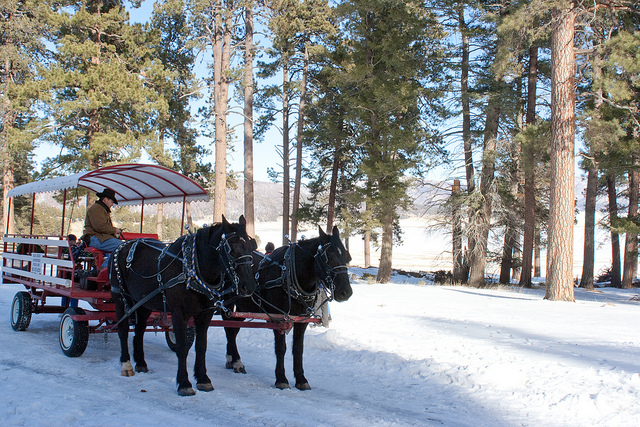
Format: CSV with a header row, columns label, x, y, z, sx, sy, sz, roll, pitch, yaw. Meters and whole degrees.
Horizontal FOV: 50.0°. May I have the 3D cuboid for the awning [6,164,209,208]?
label,x,y,z,sx,sy,sz,roll,pitch,yaw
awning,-7.166,-0.925,24.688,6.235,1.350,3.226,2,-4,-13

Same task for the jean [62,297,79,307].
label,x,y,z,sx,sy,sz,roll,pitch,yaw
jean,-8.507,3.037,23.393,0.427,0.321,1.683,2,-4,-23

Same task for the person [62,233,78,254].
label,x,y,z,sx,sy,sz,roll,pitch,yaw
person,-8.407,1.037,23.145,0.460,0.418,0.778,8,-16,-15

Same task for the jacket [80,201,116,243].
label,x,y,z,sx,sy,sz,roll,pitch,yaw
jacket,-7.518,0.357,23.354,0.875,1.592,0.811,1,0,-35
